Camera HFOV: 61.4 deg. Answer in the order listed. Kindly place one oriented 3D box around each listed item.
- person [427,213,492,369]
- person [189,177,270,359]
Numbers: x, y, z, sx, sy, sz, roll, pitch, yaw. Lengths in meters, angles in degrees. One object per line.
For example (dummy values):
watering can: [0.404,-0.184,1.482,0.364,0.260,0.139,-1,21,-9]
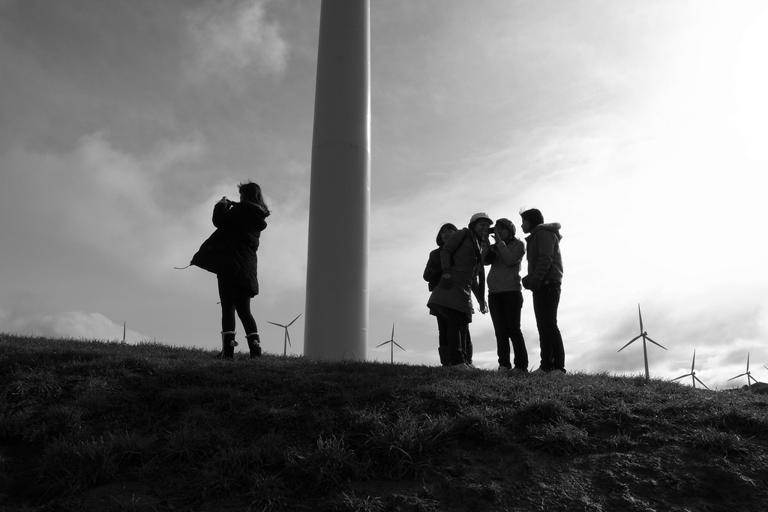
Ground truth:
person: [1.281,0.665,11.281,0.964,2.796,1.408,3,4,16]
person: [-2.479,0.358,10.629,1.070,2.581,0.689,1,4,-17]
